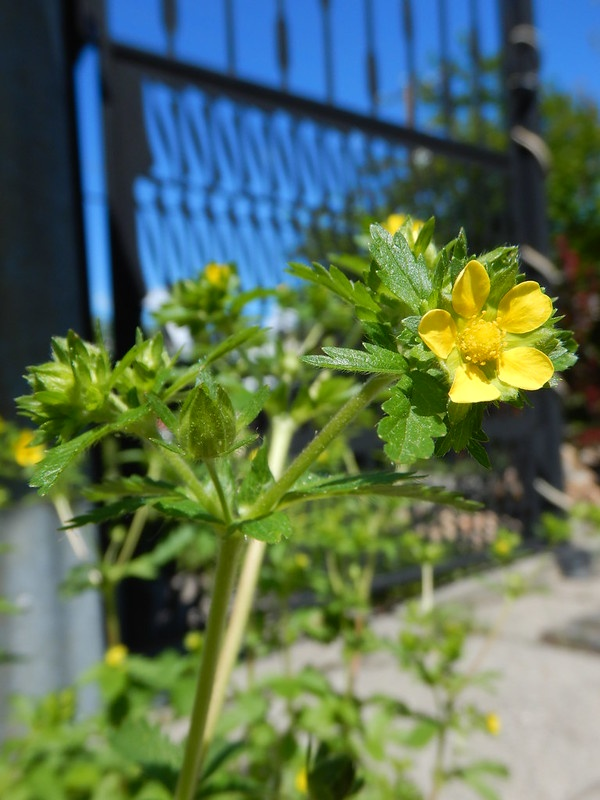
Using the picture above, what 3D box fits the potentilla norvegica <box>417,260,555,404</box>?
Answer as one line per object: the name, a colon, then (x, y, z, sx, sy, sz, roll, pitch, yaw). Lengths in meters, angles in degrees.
potentilla norvegica: (0.254, -0.093, 1.003, 0.200, 0.187, 0.080, -11, 7, -32)
